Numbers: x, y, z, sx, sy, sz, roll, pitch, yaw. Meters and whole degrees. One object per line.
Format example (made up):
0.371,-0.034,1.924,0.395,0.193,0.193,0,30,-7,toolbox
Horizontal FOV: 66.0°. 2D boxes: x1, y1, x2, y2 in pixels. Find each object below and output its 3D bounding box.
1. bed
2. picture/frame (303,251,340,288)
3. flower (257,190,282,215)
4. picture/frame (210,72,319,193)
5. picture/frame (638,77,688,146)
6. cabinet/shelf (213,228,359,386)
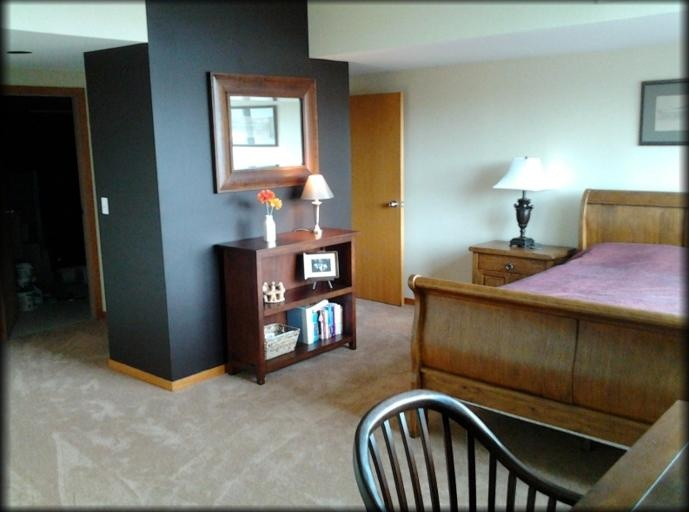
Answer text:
1.660,0.220,3.662,1.393,1.383,2.361,5,9,42,bed
-0.212,0.114,4.549,0.330,0.314,0.081,-1,-1,-16,picture/frame
-0.617,-0.437,4.383,0.209,0.222,0.376,-3,11,-7,flower
-0.640,-1.005,4.377,0.095,0.936,1.152,12,21,36,picture/frame
2.532,-1.139,4.224,0.311,0.519,0.219,2,12,14,picture/frame
-0.440,0.382,4.511,0.454,1.035,1.226,6,10,37,cabinet/shelf
